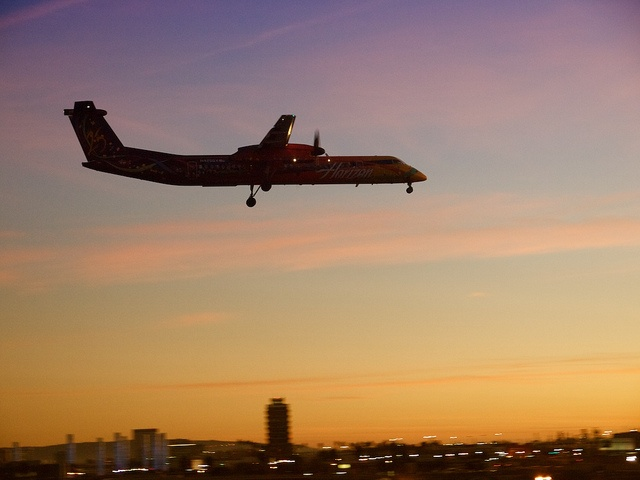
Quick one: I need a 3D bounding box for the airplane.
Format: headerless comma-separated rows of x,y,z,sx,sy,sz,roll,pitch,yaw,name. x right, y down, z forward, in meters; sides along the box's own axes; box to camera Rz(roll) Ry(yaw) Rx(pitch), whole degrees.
-10.646,-11.725,149.332,38.380,11.809,4.144,-2,-21,-6,airplane
